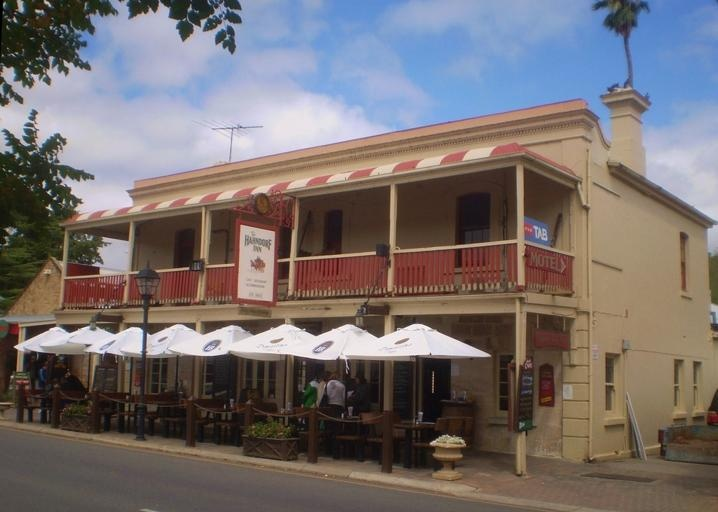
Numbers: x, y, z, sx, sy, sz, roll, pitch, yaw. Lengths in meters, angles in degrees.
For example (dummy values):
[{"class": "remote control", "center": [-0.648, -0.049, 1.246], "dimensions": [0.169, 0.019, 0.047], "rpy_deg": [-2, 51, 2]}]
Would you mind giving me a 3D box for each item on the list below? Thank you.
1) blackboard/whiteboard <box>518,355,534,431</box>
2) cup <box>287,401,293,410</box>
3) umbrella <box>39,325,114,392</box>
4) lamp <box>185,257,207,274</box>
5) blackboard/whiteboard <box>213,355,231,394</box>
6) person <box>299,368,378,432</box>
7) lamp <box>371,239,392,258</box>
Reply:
[{"class": "blackboard/whiteboard", "center": [3.552, 2.950, 15.043], "dimensions": [0.162, 1.540, 0.679], "rpy_deg": [-8, -15, 33]}, {"class": "cup", "center": [-1.659, 3.630, 17.011], "dimensions": [0.157, 0.175, 0.155], "rpy_deg": [0, -9, 0]}, {"class": "umbrella", "center": [-9.350, 3.384, 23.183], "dimensions": [2.732, 1.931, 2.671], "rpy_deg": [2, -5, -6]}, {"class": "lamp", "center": [-4.739, 0.288, 20.911], "dimensions": [0.435, 0.429, 0.135], "rpy_deg": [-3, -3, 12]}, {"class": "blackboard/whiteboard", "center": [-4.705, 4.198, 23.676], "dimensions": [0.764, 1.374, 0.126], "rpy_deg": [-5, -13, 18]}, {"class": "person", "center": [-0.465, 3.668, 17.803], "dimensions": [1.970, 0.910, 0.637], "rpy_deg": [1, -7, 40]}, {"class": "lamp", "center": [0.585, -0.144, 17.539], "dimensions": [0.330, 0.617, 0.655], "rpy_deg": [1, -2, 40]}]
